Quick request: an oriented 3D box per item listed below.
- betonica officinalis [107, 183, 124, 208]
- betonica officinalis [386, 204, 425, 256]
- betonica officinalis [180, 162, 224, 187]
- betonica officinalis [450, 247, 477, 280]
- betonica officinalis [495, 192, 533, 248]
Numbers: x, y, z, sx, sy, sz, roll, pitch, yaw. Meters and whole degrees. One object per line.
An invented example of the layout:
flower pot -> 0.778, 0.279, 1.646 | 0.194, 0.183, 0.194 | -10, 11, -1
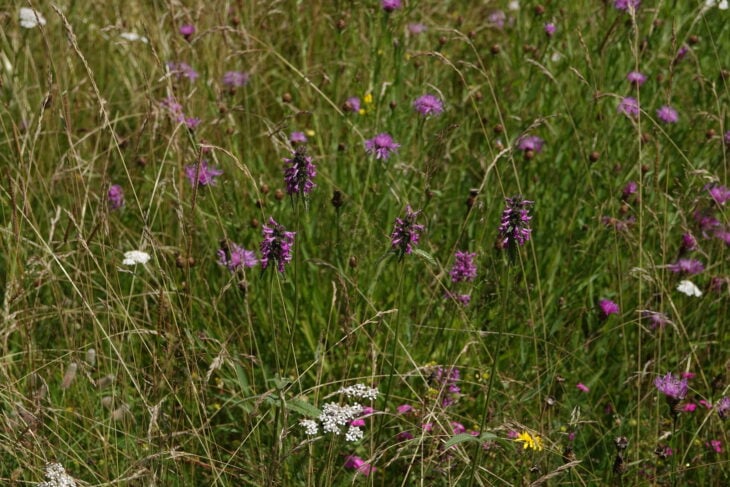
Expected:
betonica officinalis -> -1.689, -0.286, 6.487 | 0.102, 0.233, 0.080 | 3, -2, -13
betonica officinalis -> 0.266, -0.090, 5.509 | 0.183, 0.342, 0.291 | 0, 55, -13
betonica officinalis -> -1.104, -0.469, 6.403 | 0.171, 0.145, 0.218 | 11, 2, 9
betonica officinalis -> 0.625, 0.135, 6.062 | 0.133, 0.220, 0.212 | 3, 8, -6
betonica officinalis -> 0.877, -0.135, 5.718 | 0.155, 0.283, 0.268 | -5, 69, -4
